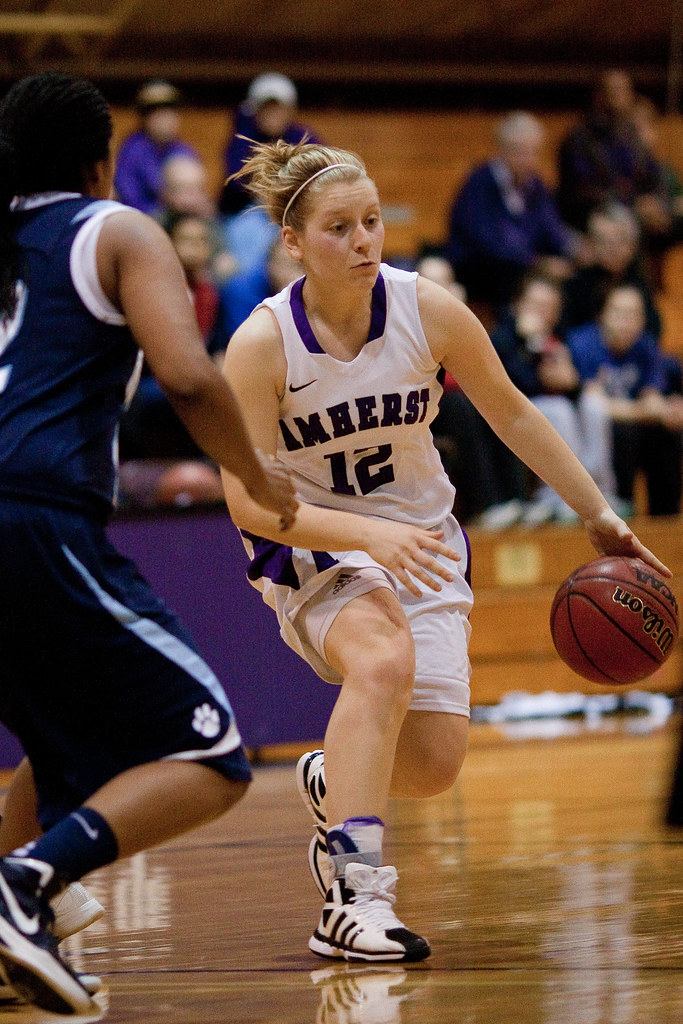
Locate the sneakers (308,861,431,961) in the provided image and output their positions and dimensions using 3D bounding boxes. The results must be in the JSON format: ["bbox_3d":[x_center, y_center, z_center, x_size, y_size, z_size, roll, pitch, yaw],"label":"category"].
[{"bbox_3d":[0.036,0.508,1.394,0.095,0.121,0.125,-3,-10,-18],"label":"sneakers"}]

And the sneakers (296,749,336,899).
[{"bbox_3d":[-0.044,0.479,1.735,0.083,0.229,0.112,-6,-8,-5],"label":"sneakers"}]

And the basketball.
[{"bbox_3d":[0.441,0.175,1.884,0.236,0.199,0.220,23,2,10],"label":"basketball"}]
